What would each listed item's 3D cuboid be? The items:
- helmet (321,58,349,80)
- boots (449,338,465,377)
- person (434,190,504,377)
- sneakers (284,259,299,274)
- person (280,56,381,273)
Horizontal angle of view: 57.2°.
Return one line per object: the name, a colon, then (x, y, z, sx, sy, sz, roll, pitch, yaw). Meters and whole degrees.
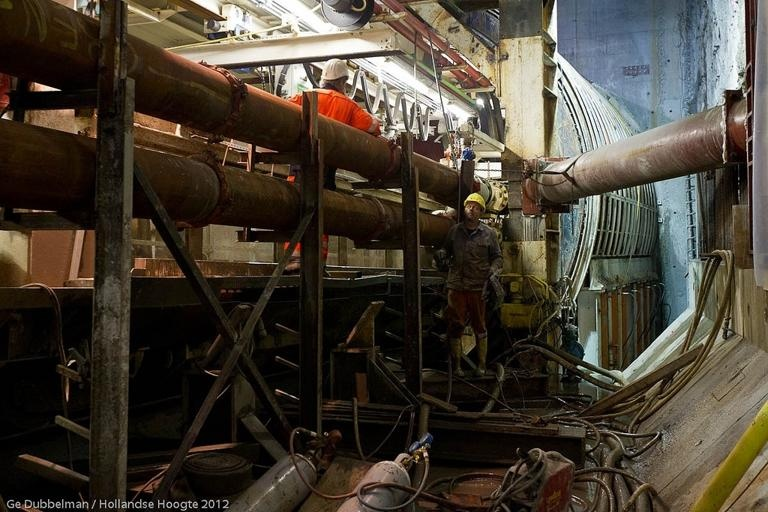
helmet: (-0.536, -2.073, 7.882, 0.202, 0.169, 0.295, 7, 20, 24)
boots: (0.861, 1.239, 8.723, 0.184, 0.444, 0.273, 2, -2, -29)
person: (1.046, 0.349, 8.748, 0.756, 2.217, 0.472, 1, -2, 5)
sneakers: (-0.978, 0.123, 7.554, 0.121, 0.217, 0.075, 2, -2, 13)
person: (-0.794, -1.425, 7.847, 0.573, 1.279, 1.868, 5, -40, -27)
